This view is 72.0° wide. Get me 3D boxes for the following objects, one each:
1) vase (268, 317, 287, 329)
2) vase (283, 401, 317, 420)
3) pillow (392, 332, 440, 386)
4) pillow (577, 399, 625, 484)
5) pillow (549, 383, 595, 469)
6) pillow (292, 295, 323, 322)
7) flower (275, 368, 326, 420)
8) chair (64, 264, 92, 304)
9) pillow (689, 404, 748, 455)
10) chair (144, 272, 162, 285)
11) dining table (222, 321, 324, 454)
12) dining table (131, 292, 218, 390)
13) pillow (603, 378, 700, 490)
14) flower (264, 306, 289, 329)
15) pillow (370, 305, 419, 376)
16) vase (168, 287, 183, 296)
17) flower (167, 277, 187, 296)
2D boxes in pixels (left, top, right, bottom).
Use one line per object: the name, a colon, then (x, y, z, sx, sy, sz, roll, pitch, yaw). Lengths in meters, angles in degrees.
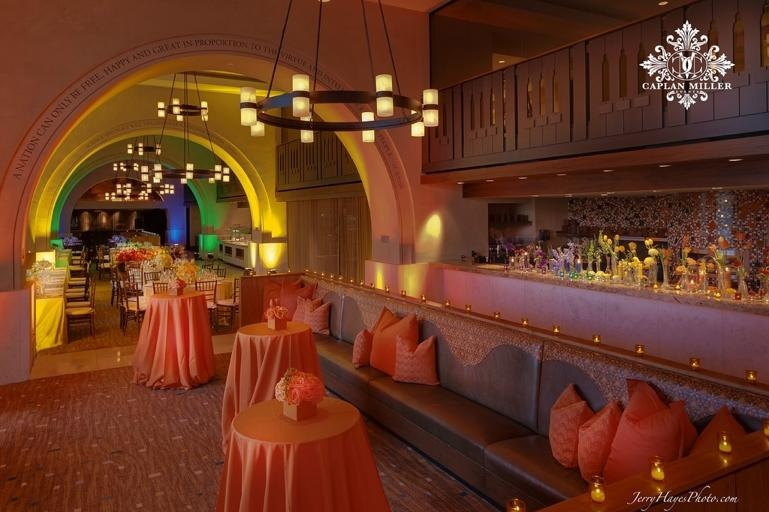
vase: (-1.362, 0.859, 6.788, 0.146, 0.097, 0.146, 3, -3, -37)
vase: (-0.773, 1.415, 4.858, 0.188, 0.130, 0.187, -5, 5, -37)
pillow: (0.391, 1.256, 6.399, 0.539, 0.553, 0.231, 1, -3, 19)
pillow: (1.854, 1.622, 4.545, 0.251, 0.514, 0.477, 25, -13, 9)
pillow: (1.735, 1.555, 5.169, 0.466, 0.885, 0.696, 3, -4, 5)
pillow: (-1.275, 0.848, 8.562, 0.372, 0.418, 0.155, -3, -17, 36)
flower: (-0.790, 1.254, 4.859, 0.421, 0.461, 0.351, -2, 4, -29)
chair: (-7.749, 0.720, 13.389, 0.707, 1.212, 0.671, 3, 0, -24)
pillow: (2.695, 1.424, 4.269, 0.407, 0.363, 0.300, -3, 3, -27)
chair: (-4.778, 0.467, 10.920, 0.232, 0.431, 0.254, 0, -1, -25)
dining table: (-1.566, 1.557, 6.876, 1.204, 1.261, 1.240, 2, 3, 35)
dining table: (-3.190, 1.289, 8.373, 1.243, 1.303, 1.236, 2, -3, -4)
pillow: (2.217, 1.524, 4.445, 0.602, 0.788, 0.470, -3, 3, -28)
flower: (-1.416, 0.789, 6.898, 0.244, 0.298, 0.276, 2, -1, -14)
pillow: (0.141, 1.092, 6.688, 0.344, 0.705, 0.587, 7, 16, -47)
vase: (-3.158, 0.537, 8.021, 0.130, 0.090, 0.138, 0, 2, -1)
flower: (-3.175, 0.471, 8.126, 0.270, 0.310, 0.236, 1, -1, -4)
